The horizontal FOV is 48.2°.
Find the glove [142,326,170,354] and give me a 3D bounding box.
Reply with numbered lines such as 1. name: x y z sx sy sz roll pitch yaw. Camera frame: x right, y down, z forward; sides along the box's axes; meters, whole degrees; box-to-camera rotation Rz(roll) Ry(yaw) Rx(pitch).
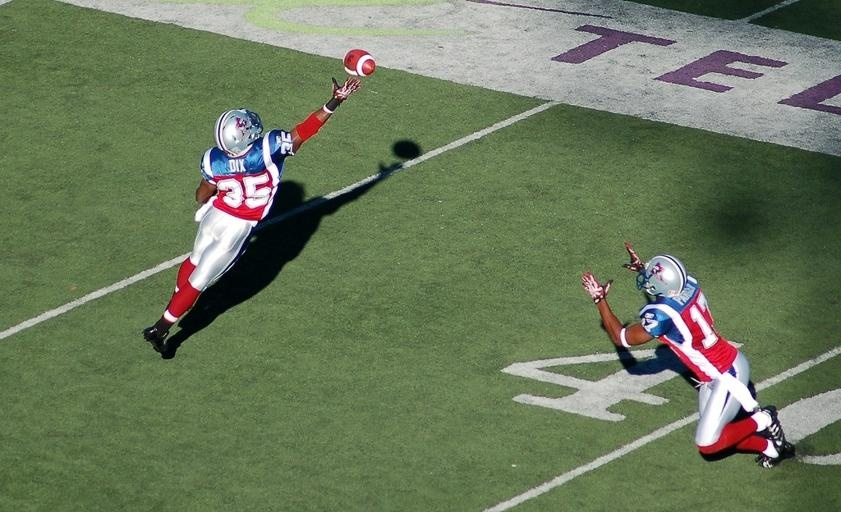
1. glove: -3.785 1.210 13.474 0.338 0.171 0.341 -41 57 4

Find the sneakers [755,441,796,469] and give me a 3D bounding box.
1. sneakers: 4.782 2.712 12.673 0.672 0.300 0.229 -32 65 2
